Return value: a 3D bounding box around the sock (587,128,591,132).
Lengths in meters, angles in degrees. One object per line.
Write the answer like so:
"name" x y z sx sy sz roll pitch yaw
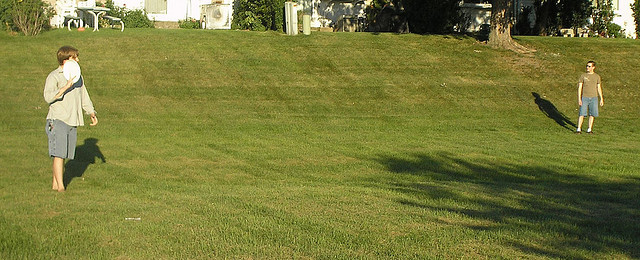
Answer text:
"sock" 17.983 -0.026 56.978 0.196 0.257 0.239 4 12 8
